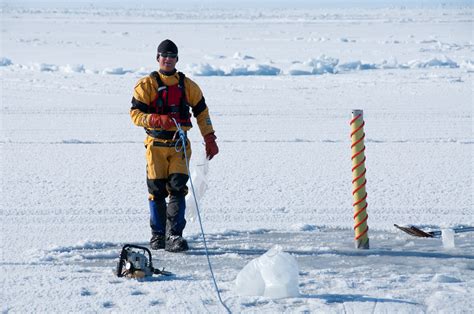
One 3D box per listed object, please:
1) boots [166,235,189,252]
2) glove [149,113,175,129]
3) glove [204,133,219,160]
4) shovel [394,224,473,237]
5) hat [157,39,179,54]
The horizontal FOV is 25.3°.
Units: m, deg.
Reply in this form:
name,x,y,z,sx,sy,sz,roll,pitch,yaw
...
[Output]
name,x,y,z,sx,sy,sz,roll,pitch,yaw
boots,-1.194,1.747,20.914,0.434,0.266,0.283,-5,-5,21
glove,-1.480,-0.718,20.865,0.486,0.297,0.187,1,5,21
glove,-0.585,-0.215,21.461,0.350,0.498,0.196,-7,-4,-36
shovel,3.967,1.511,21.526,1.640,0.254,0.697,1,4,21
hat,-1.376,-2.220,20.938,0.368,0.267,0.324,-1,4,-7
